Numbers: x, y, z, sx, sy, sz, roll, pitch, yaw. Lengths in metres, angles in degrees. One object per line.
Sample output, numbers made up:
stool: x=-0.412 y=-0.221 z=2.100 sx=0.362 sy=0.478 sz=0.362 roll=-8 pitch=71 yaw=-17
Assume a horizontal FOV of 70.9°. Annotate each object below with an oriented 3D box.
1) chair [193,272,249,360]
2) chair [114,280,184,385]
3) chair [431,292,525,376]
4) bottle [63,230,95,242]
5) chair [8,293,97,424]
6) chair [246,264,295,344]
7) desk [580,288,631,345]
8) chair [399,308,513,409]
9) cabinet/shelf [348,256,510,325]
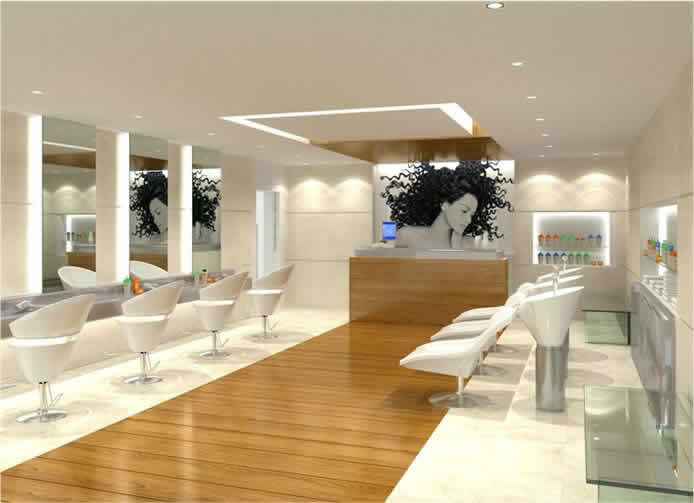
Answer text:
chair: x=-1.804 y=0.879 z=7.003 sx=0.784 sy=1.174 sz=0.734 roll=-2 pitch=-8 yaw=-7
chair: x=-2.349 y=0.947 z=5.850 sx=0.713 sy=1.148 sz=0.771 roll=-3 pitch=-4 yaw=39
chair: x=1.462 y=0.870 z=5.553 sx=1.078 sy=0.724 sz=1.114 roll=0 pitch=0 yaw=18
bottle: x=-3.429 y=-0.180 z=6.262 sx=0.041 sy=0.145 sz=0.432 roll=1 pitch=4 yaw=18
chair: x=-2.865 y=1.009 z=4.765 sx=0.698 sy=1.148 sz=0.448 roll=-4 pitch=5 yaw=-36
chair: x=-1.253 y=0.817 z=8.041 sx=0.786 sy=1.159 sz=0.770 roll=-1 pitch=-5 yaw=0
desk: x=3.866 y=1.115 z=7.213 sx=0.594 sy=0.487 sz=0.337 roll=2 pitch=5 yaw=30
chair: x=1.100 y=1.049 z=4.939 sx=1.058 sy=0.945 sz=0.940 roll=1 pitch=-2 yaw=11
cabinet/shelf: x=1.414 y=0.335 z=9.034 sx=2.828 sy=1.321 sz=1.572 roll=-3 pitch=28 yaw=-6
